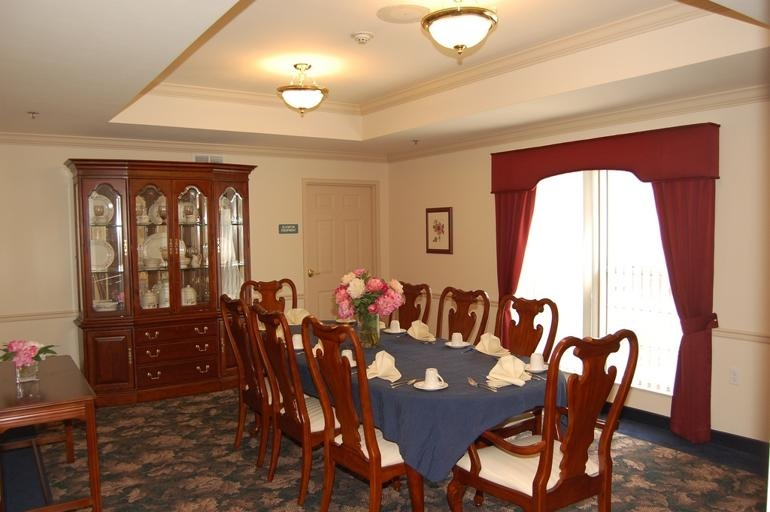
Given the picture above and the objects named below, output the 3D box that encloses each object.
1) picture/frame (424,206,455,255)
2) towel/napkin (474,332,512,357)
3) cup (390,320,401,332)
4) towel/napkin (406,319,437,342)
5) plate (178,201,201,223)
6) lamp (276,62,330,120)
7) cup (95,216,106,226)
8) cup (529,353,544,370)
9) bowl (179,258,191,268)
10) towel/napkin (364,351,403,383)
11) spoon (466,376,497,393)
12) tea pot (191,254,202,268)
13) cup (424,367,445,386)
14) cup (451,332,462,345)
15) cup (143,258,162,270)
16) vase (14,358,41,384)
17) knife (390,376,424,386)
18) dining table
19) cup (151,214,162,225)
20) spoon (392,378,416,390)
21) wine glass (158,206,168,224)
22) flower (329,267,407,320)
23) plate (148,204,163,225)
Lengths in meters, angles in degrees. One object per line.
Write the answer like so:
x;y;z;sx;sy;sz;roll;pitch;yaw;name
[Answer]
0.789;-0.369;7.482;0.095;0.898;0.676;-3;3;-38;picture/frame
0.966;0.770;4.668;0.220;0.097;0.210;4;6;44;towel/napkin
0.114;0.713;5.374;0.103;0.147;0.104;1;-6;0;cup
0.353;0.739;5.125;0.217;0.081;0.167;27;31;37;towel/napkin
-2.433;-0.541;6.530;0.232;0.430;0.234;-1;2;-5;plate
-0.863;-1.673;5.412;0.493;0.464;0.489;-2;1;-39;lamp
-3.308;-0.410;6.152;0.097;0.063;0.098;0;-1;0;cup
1.188;0.832;4.151;0.130;0.123;0.098;-4;-7;9;cup
-2.473;0.079;6.525;0.116;0.085;0.117;0;-4;0;bowl
-0.013;0.835;4.092;0.227;0.076;0.225;1;4;-17;towel/napkin
0.708;0.945;3.909;0.067;0.056;0.315;0;7;-27;spoon
-2.351;0.057;6.588;0.150;0.161;0.106;7;-7;-39;tea pot
0.363;0.893;3.922;0.090;0.107;0.151;-2;9;-20;cup
0.660;0.749;4.831;0.097;0.099;0.106;0;-2;0;cup
-2.801;0.088;6.381;0.136;0.085;0.136;-4;-8;-1;cup
-2.844;0.912;4.274;0.175;0.246;0.180;-2;0;8;vase
0.153;0.945;3.982;0.078;0.016;0.300;7;8;42;knife
0.176;1.248;4.031;0.798;0.562;1.513;-3;2;-34;dining table
-2.740;-0.437;6.353;0.098;0.095;0.098;-2;9;0;cup
0.143;0.949;3.956;0.058;0.014;0.275;5;7;37;spoon
-2.688;-0.512;6.406;0.130;0.185;0.061;1;5;-13;wine glass
-0.127;0.382;4.858;0.494;0.392;0.505;4;-6;13;flower
-2.751;-0.506;6.390;0.172;0.226;0.220;2;6;-22;plate
